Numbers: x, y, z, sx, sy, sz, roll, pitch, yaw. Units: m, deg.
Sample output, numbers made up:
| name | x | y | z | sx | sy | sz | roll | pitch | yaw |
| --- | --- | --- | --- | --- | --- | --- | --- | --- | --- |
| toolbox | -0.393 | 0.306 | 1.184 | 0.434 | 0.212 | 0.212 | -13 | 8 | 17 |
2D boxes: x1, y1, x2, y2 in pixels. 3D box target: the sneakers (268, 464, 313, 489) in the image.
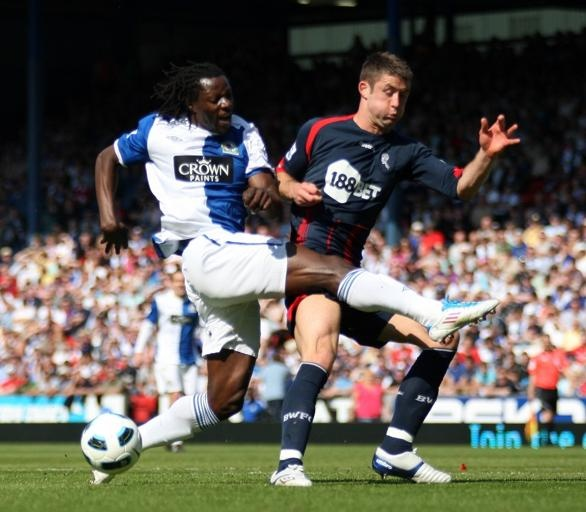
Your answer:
| name | x | y | z | sx | sy | sz | roll | pitch | yaw |
| --- | --- | --- | --- | --- | --- | --- | --- | --- | --- |
| sneakers | -0.022 | 1.486 | 7.830 | 0.122 | 0.103 | 0.261 | 12 | -17 | -40 |

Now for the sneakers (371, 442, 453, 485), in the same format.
| name | x | y | z | sx | sy | sz | roll | pitch | yaw |
| --- | --- | --- | --- | --- | --- | --- | --- | --- | --- |
| sneakers | 0.885 | 1.503 | 8.339 | 0.637 | 0.293 | 0.221 | 7 | -10 | -5 |

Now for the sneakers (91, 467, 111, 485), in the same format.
| name | x | y | z | sx | sy | sz | roll | pitch | yaw |
| --- | --- | --- | --- | --- | --- | --- | --- | --- | --- |
| sneakers | -1.386 | 1.590 | 8.340 | 0.124 | 0.107 | 0.094 | 11 | -10 | -14 |

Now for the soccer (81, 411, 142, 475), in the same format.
| name | x | y | z | sx | sy | sz | roll | pitch | yaw |
| --- | --- | --- | --- | --- | --- | --- | --- | --- | --- |
| soccer | -1.321 | 1.415 | 8.360 | 0.302 | 0.332 | 0.290 | -24 | -36 | 15 |
